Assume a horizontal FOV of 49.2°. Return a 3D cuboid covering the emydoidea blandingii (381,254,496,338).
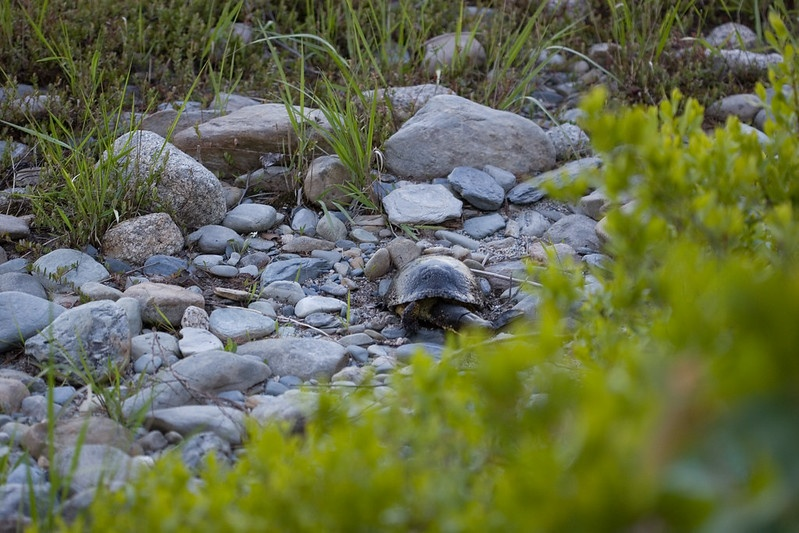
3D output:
[{"bbox_3d":[0.160,0.123,3.592,0.446,0.223,0.334,3,39,7],"label":"emydoidea blandingii"}]
